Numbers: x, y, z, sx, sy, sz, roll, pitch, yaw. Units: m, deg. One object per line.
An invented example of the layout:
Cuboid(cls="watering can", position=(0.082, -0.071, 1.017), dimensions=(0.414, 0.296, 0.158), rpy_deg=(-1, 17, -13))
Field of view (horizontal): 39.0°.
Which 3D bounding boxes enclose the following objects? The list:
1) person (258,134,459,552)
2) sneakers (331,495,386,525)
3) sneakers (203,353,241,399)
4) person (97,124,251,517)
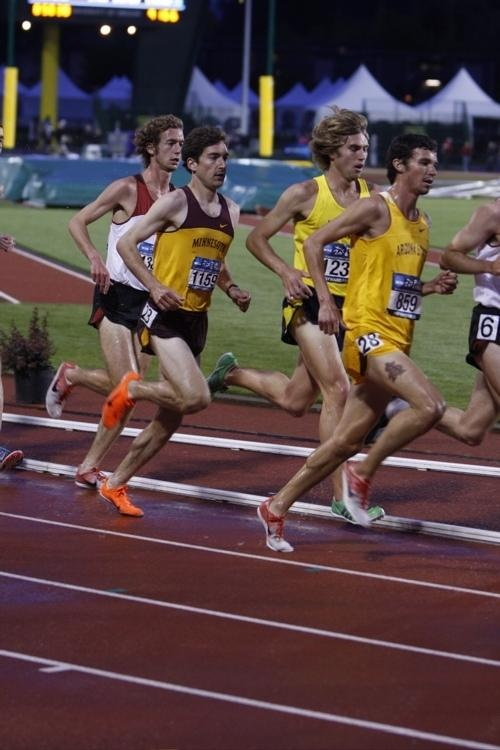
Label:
Cuboid(cls="person", position=(0.484, -0.144, 3.169), dimensions=(0.682, 1.957, 0.493), rpy_deg=(2, -2, -3))
Cuboid(cls="sneakers", position=(0.536, 0.723, 3.653), dimensions=(0.134, 0.137, 0.342), rpy_deg=(-9, 8, -40))
Cuboid(cls="sneakers", position=(-0.181, 0.009, 4.767), dimensions=(0.172, 0.120, 0.377), rpy_deg=(5, -29, -22))
Cuboid(cls="person", position=(-0.413, -0.249, 3.683), dimensions=(0.607, 2.056, 0.727), rpy_deg=(3, -2, -34))
